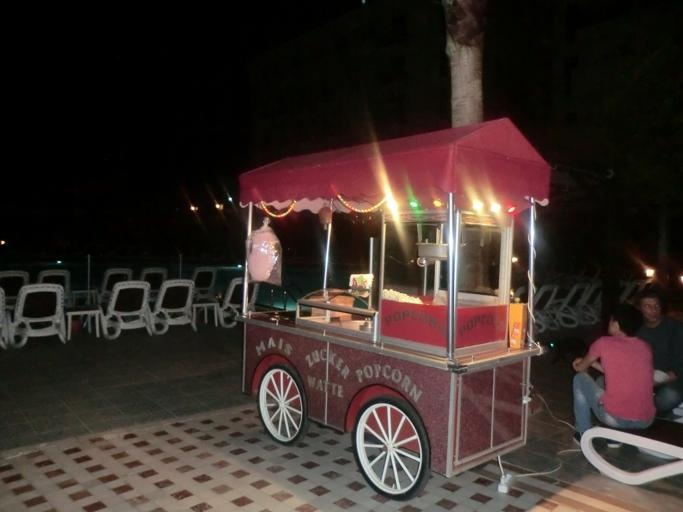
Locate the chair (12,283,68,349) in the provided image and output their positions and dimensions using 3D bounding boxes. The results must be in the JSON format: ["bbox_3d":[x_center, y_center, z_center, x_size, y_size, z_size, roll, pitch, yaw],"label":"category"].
[{"bbox_3d":[-5.910,1.198,10.232,1.014,1.425,0.991,-1,13,-25],"label":"chair"}]

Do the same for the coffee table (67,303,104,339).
[{"bbox_3d":[-5.908,1.388,12.023,0.672,0.795,2.703,-2,6,-26],"label":"coffee table"}]

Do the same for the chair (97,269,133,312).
[{"bbox_3d":[-5.372,0.814,12.403,0.698,1.134,0.776,-4,22,-38],"label":"chair"}]

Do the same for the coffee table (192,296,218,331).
[{"bbox_3d":[-3.512,1.454,13.623,0.742,0.747,0.765,-1,-4,-1],"label":"coffee table"}]

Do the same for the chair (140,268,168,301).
[{"bbox_3d":[-4.630,0.691,12.902,0.695,1.053,0.743,-2,15,-28],"label":"chair"}]
